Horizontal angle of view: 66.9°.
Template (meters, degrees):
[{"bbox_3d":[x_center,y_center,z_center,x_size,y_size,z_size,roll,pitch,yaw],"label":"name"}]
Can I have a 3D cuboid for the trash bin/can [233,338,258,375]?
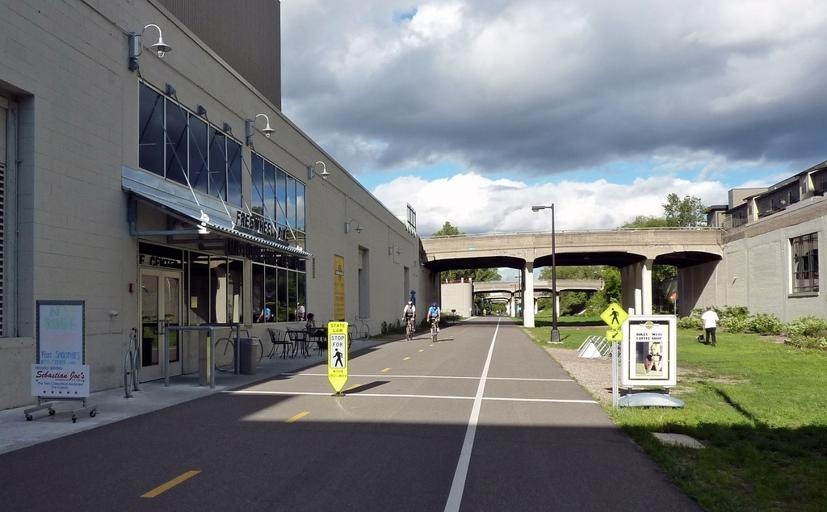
[{"bbox_3d":[-5.843,3.442,21.741,0.779,1.203,0.814,2,-5,-3],"label":"trash bin/can"}]

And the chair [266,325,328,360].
[{"bbox_3d":[-5.396,3.984,28.789,3.276,1.979,1.414,-1,-2,1],"label":"chair"}]

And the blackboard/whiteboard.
[{"bbox_3d":[-8.752,2.410,15.784,1.117,2.771,1.123,0,-1,-2],"label":"blackboard/whiteboard"}]

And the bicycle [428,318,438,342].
[{"bbox_3d":[1.217,4.238,35.968,0.280,1.358,0.996,1,4,9],"label":"bicycle"}]
